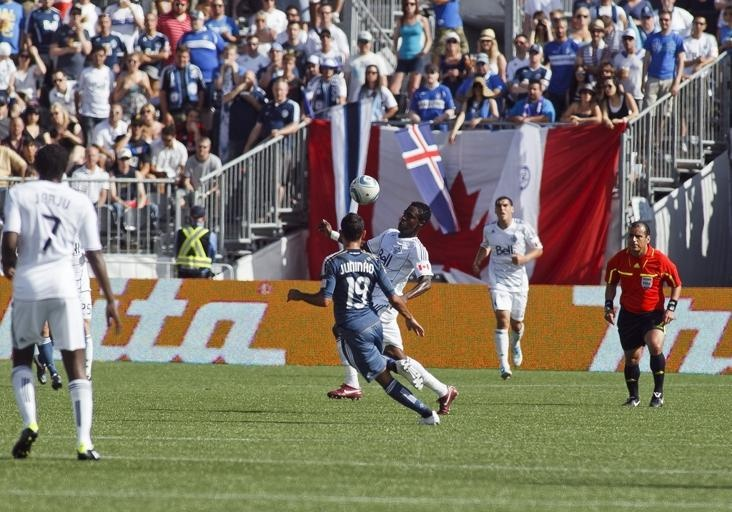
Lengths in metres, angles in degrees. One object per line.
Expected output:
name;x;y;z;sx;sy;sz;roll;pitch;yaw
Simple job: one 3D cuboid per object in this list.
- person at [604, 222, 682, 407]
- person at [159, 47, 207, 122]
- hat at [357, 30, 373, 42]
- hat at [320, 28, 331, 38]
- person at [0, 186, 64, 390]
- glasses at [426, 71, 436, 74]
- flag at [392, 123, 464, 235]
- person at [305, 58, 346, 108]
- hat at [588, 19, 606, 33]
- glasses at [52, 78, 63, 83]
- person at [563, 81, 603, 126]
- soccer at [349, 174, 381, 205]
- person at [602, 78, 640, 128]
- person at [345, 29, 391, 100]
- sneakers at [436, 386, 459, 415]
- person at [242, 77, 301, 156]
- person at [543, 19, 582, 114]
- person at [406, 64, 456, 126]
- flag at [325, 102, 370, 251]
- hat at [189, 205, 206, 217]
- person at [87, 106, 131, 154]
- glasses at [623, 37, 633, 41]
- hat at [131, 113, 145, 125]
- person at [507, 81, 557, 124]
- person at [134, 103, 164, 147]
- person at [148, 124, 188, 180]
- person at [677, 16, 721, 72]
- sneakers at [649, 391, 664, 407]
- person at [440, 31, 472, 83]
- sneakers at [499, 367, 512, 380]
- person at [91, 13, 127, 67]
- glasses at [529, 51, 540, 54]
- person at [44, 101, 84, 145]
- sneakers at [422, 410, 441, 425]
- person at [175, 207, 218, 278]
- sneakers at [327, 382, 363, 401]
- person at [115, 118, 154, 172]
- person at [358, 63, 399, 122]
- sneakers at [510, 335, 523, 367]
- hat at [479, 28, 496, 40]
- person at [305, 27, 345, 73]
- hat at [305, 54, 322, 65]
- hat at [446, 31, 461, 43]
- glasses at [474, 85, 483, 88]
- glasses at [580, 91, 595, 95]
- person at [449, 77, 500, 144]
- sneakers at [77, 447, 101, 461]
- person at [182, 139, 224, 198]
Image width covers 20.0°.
person;3.882;0.840;29.211;1.014;2.588;0.648;2;9;7
person;-3.256;-2.853;37.400;0.823;2.059;0.568;-4;24;-11
hat;0.008;-4.007;37.674;0.313;0.185;0.524;1;8;1
hat;-0.683;-3.977;36.974;0.197;0.145;0.293;0;11;-4
person;-4.779;0.500;30.351;1.431;2.912;0.702;1;-5;-18
glasses;1.143;-3.224;36.116;0.150;0.083;0.086;1;10;4
flag;1.155;-1.388;35.944;0.652;0.081;2.507;-10;50;-12
person;-0.705;-3.047;36.780;0.722;1.529;0.614;-2;-5;0
hat;4.001;-3.983;35.775;0.230;0.164;0.291;5;5;6
glasses;-5.539;-3.217;37.776;0.164;0.105;0.091;1;10;3
person;3.747;-2.615;35.521;0.441;0.877;0.476;16;-6;23
soccer;0.017;-0.897;29.620;0.368;0.412;0.399;-1;-38;-9
person;4.283;-2.613;35.385;0.613;0.988;0.594;-11;0;7
person;-0.030;-3.207;37.216;0.764;1.608;0.470;2;-10;10
sneakers;1.109;1.996;28.121;0.235;0.513;0.175;5;23;-6
person;-1.566;-2.487;36.422;0.930;1.295;0.549;0;9;-4
person;3.408;-3.017;35.901;0.601;2.206;0.628;1;13;12
person;1.159;-2.735;36.339;0.800;1.357;0.657;-2;-8;8
flag;-0.214;-1.681;36.658;0.804;2.823;0.257;-16;48;-15
hat;-2.691;-0.736;33.801;0.228;0.176;0.322;6;6;-5
person;-4.513;-2.219;36.847;0.547;0.773;0.471;17;-15;0
glasses;4.459;-3.727;35.313;0.175;0.057;0.040;9;13;38
hat;-4.028;-2.428;37.029;0.190;0.241;0.229;1;-5;-7
person;2.854;-2.653;35.744;0.877;0.836;0.558;3;-3;26
person;-3.799;-2.302;36.719;0.495;0.747;0.411;-9;-24;2
person;-3.400;-1.778;36.290;0.688;1.038;0.681;3;-3;28
person;5.816;-3.341;36.390;0.667;1.755;0.536;1;18;6
sneakers;4.091;2.056;29.240;0.104;0.145;0.307;0;-8;17
person;1.570;-3.421;36.891;0.563;1.200;0.551;-3;1;-27
sneakers;2.143;1.798;31.475;0.169;0.175;0.144;-3;8;-16
person;-4.659;-3.781;37.963;0.669;1.359;0.437;-6;-11;-8
glasses;2.902;-3.495;35.634;0.081;0.067;0.142;2;5;19
person;-5.340;-2.316;37.144;0.589;0.990;0.532;-7;6;15
sneakers;0.879;2.177;27.538;0.252;0.200;0.133;2;-1;4
person;-2.744;-0.223;33.910;0.652;1.225;0.350;-1;9;-9
sneakers;-0.272;1.958;29.696;0.518;0.315;0.204;4;-6;-2
person;-3.991;-1.950;36.610;0.367;0.880;0.798;7;5;-36
person;0.220;-2.863;36.621;0.887;1.299;0.664;-3;2;4
sneakers;2.336;1.538;32.383;0.149;0.557;0.219;-3;7;21
hat;2.174;-3.964;36.747;0.232;0.202;0.359;2;-1;1
person;-0.683;-3.722;37.044;0.684;0.682;0.376;2;-9;7
hat;-0.889;-3.495;36.794;0.202;0.154;0.351;0;11;-2
hat;1.589;-3.896;37.094;0.186;0.230;0.257;6;28;-4
glasses;1.991;-2.951;35.926;0.089;0.069;0.059;-4;11;-26
glasses;3.797;-2.793;35.474;0.195;0.061;0.033;2;10;8
person;1.876;-2.537;36.140;0.818;1.161;0.620;3;-3;-15
sneakers;-3.395;2.481;25.821;0.124;0.130;0.253;2;1;27
person;-2.830;-1.535;35.980;0.825;1.037;0.856;6;0;35
